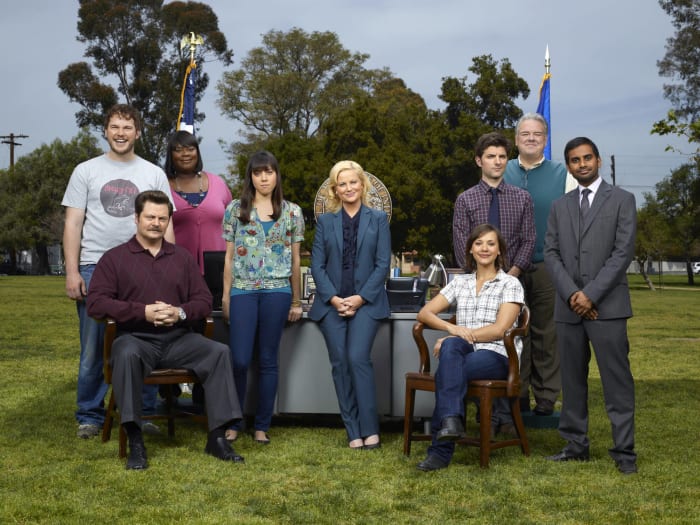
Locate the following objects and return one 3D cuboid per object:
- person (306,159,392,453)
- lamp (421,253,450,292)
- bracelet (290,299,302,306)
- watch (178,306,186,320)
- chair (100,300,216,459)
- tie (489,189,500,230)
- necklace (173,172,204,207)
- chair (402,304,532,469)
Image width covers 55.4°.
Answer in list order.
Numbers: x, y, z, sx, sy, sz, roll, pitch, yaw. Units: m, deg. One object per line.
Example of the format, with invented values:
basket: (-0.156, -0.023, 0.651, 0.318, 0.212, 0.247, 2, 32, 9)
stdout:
person: (0.006, 0.482, 5.556, 0.679, 2.041, 0.360, -1, -1, -5)
lamp: (0.815, 0.088, 6.305, 0.245, 0.330, 0.296, -5, 17, -40)
bracelet: (-0.456, 0.340, 5.701, 0.062, 0.034, 0.048, 1, 2, 38)
watch: (-1.315, 0.406, 5.239, 0.026, 0.078, 0.076, -2, -8, 2)
chair: (-1.669, 0.974, 5.409, 0.899, 1.561, 0.948, 3, -9, -23)
tie: (1.287, -0.480, 5.947, 0.103, 0.368, 0.075, -1, -1, 11)
necklace: (-1.518, -0.704, 6.454, 0.261, 0.167, 0.292, -1, -5, -12)
chair: (0.889, 0.915, 5.145, 0.811, 1.259, 0.793, -1, -5, 28)
